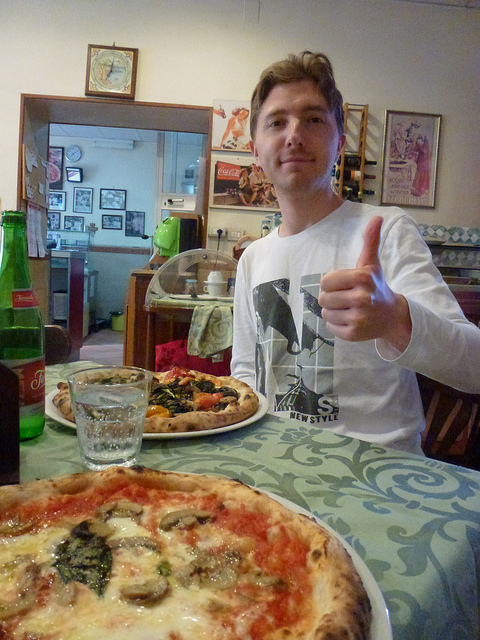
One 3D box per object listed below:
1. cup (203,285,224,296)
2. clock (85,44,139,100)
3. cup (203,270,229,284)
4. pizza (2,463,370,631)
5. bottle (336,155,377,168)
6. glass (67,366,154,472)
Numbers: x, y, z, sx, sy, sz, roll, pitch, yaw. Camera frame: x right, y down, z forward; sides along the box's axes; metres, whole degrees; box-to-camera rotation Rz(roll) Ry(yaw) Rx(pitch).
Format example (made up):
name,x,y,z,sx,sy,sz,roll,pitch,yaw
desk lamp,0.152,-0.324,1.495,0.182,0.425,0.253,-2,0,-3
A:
name,x,y,z,sx,sy,sz,roll,pitch,yaw
cup,-0.164,-0.173,2.817,0.080,0.058,0.072,0,4,27
clock,-1.006,-1.943,3.747,0.384,0.392,0.039,4,6,-2
cup,-0.157,-0.253,2.811,0.113,0.059,0.115,1,9,0
pizza,-0.055,0.162,0.364,0.287,0.046,0.194,3,1,7
bottle,0.940,-1.277,3.882,0.323,0.100,0.125,3,1,6
glass,-0.144,0.115,0.552,0.094,0.110,0.097,-2,-3,5
